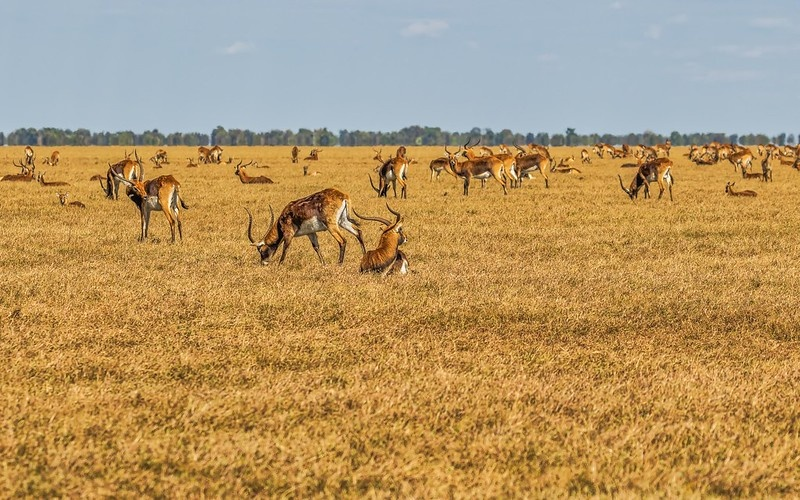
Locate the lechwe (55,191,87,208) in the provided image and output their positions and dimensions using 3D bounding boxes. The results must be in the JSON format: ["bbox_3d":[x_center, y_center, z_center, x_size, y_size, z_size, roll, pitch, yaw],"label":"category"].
[{"bbox_3d":[-11.194,-1.580,30.106,0.937,0.628,0.443,10,23,5],"label":"lechwe"}]
